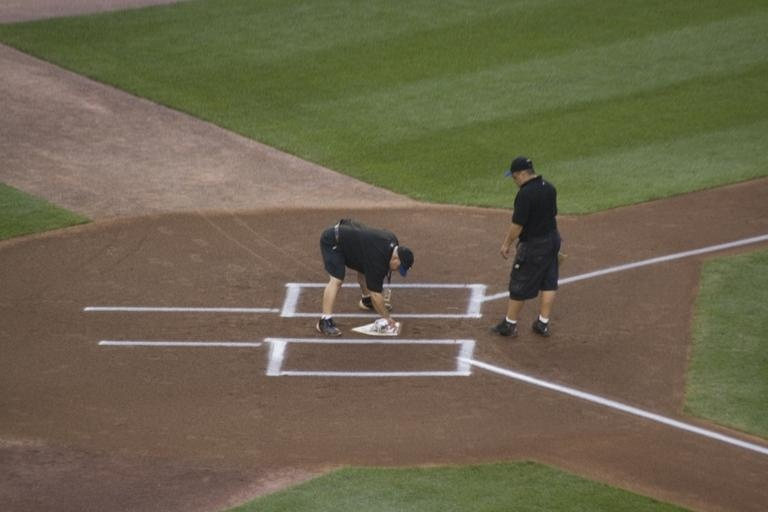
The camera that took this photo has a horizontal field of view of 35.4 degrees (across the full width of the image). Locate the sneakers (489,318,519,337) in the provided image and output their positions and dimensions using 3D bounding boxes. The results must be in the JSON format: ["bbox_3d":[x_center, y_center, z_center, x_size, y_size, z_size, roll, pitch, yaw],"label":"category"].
[{"bbox_3d":[1.982,1.234,20.467,0.240,0.241,0.371,-14,27,-41],"label":"sneakers"}]

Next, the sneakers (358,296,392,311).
[{"bbox_3d":[-0.200,0.823,20.902,0.672,0.261,0.213,-1,22,-1],"label":"sneakers"}]

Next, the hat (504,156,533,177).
[{"bbox_3d":[2.149,-1.466,19.937,0.489,0.251,0.328,-1,23,17],"label":"hat"}]

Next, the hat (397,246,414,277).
[{"bbox_3d":[0.317,0.090,19.995,0.274,0.437,0.321,-15,4,15],"label":"hat"}]
